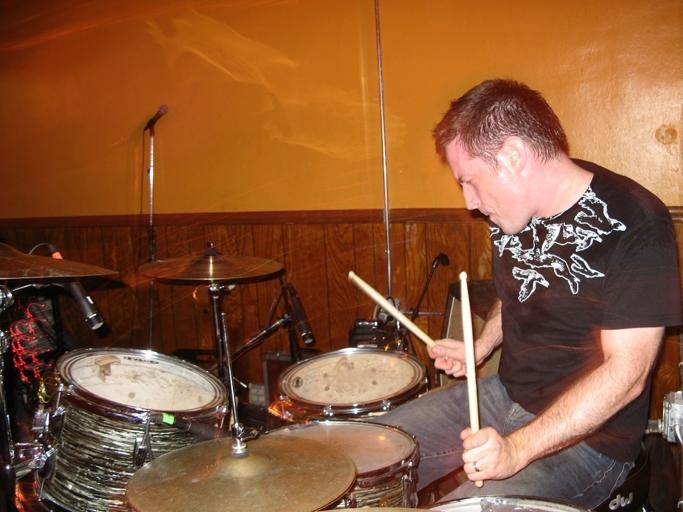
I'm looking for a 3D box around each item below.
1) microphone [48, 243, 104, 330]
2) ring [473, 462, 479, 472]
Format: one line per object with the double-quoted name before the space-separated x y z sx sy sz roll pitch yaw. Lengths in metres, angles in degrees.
"microphone" -1.329 0.151 3.215 0.101 0.617 0.097 -31 -2 -28
"ring" 0.368 0.585 1.761 0.007 0.023 0.022 -37 54 -4
